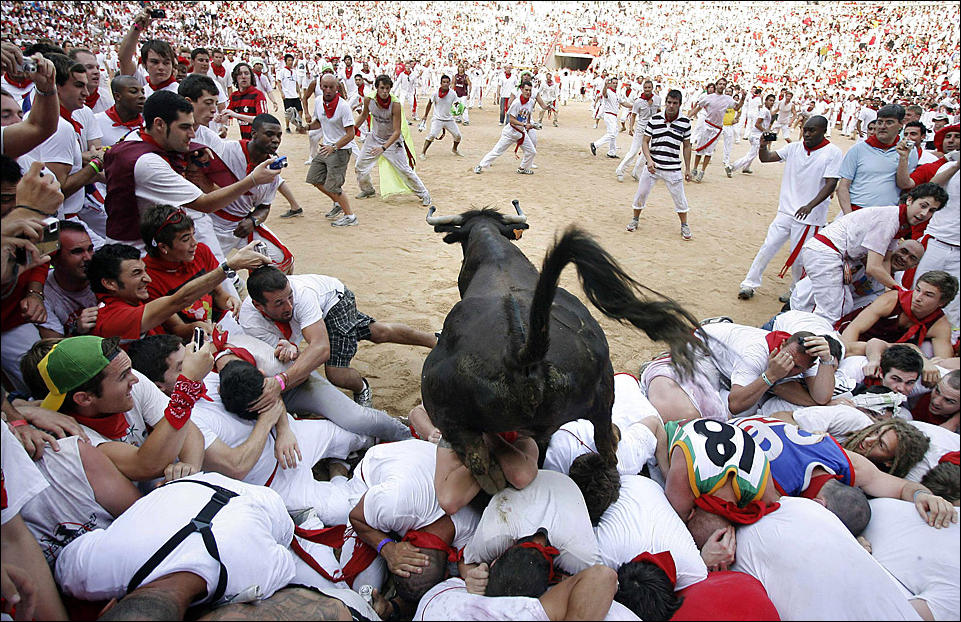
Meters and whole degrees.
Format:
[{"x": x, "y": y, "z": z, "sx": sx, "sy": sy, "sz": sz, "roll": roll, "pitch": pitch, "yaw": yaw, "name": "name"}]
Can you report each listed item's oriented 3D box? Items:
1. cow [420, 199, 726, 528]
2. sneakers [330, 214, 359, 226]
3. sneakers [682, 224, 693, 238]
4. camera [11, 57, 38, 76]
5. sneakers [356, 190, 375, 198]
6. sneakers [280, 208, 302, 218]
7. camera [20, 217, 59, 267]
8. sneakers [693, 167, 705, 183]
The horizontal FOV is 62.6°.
[{"x": 0.329, "y": 0.291, "z": 7.020, "sx": 2.055, "sy": 2.277, "sz": 4.161, "roll": -8, "pitch": 15, "yaw": -12, "name": "cow"}, {"x": -2.006, "y": -1.326, "z": 11.692, "sx": 0.399, "sy": 0.177, "sz": 0.177, "roll": -5, "pitch": 48, "yaw": 0, "name": "sneakers"}, {"x": 3.304, "y": -1.234, "z": 12.443, "sx": 0.112, "sy": 0.136, "sz": 0.320, "roll": -4, "pitch": 15, "yaw": -1, "name": "sneakers"}, {"x": -3.726, "y": -1.951, "z": 6.398, "sx": 0.131, "sy": 0.161, "sz": 0.228, "roll": -6, "pitch": 15, "yaw": -39, "name": "camera"}, {"x": -1.920, "y": -1.922, "z": 13.202, "sx": 0.324, "sy": 0.104, "sz": 0.215, "roll": -2, "pitch": -2, "yaw": 3, "name": "sneakers"}, {"x": -2.844, "y": -1.471, "z": 11.926, "sx": 0.332, "sy": 0.139, "sz": 0.118, "roll": -6, "pitch": 36, "yaw": 1, "name": "sneakers"}, {"x": -3.409, "y": -0.533, "z": 6.050, "sx": 0.060, "sy": 0.403, "sz": 0.218, "roll": 17, "pitch": 51, "yaw": -33, "name": "camera"}, {"x": 4.591, "y": -2.769, "z": 16.397, "sx": 0.164, "sy": 0.190, "sz": 0.462, "roll": 5, "pitch": 5, "yaw": 23, "name": "sneakers"}]
